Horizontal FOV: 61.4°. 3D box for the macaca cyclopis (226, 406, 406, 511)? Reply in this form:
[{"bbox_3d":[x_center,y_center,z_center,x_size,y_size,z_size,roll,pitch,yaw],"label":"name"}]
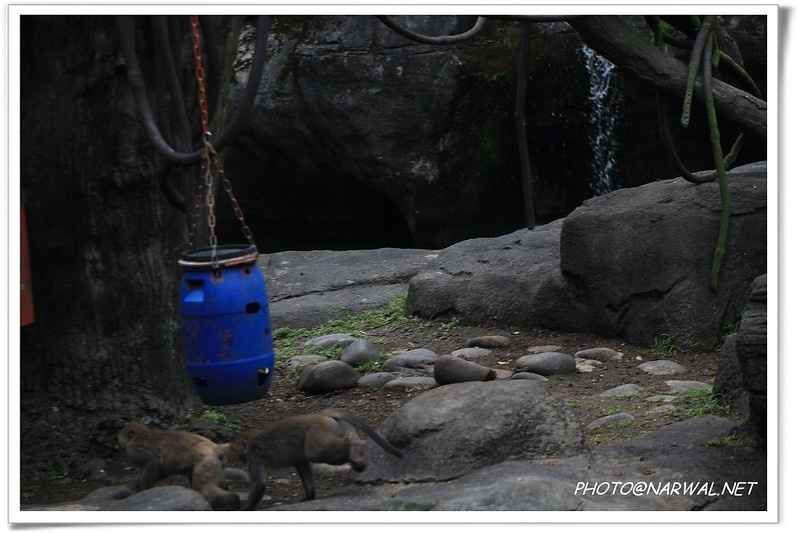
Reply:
[{"bbox_3d":[-0.489,1.101,3.912,1.260,0.429,0.380,-17,-17,22],"label":"macaca cyclopis"}]

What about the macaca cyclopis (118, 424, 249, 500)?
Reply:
[{"bbox_3d":[-1.350,1.218,4.113,0.914,0.446,0.243,7,8,16],"label":"macaca cyclopis"}]
